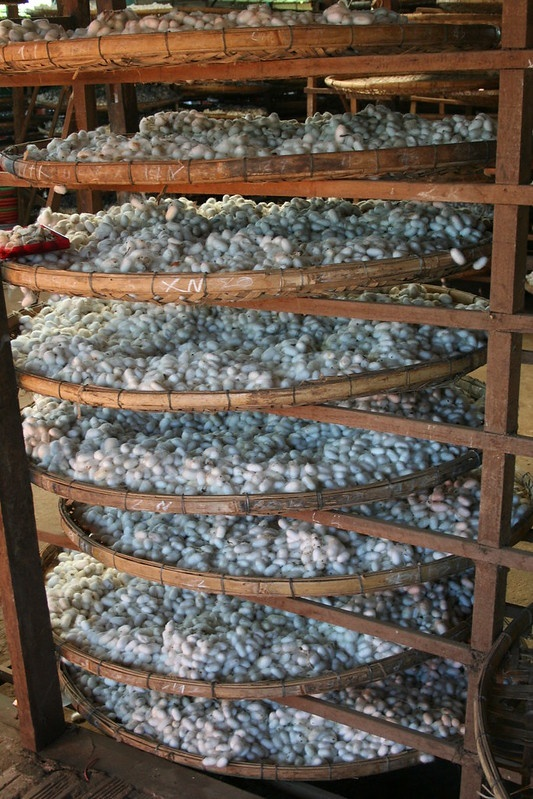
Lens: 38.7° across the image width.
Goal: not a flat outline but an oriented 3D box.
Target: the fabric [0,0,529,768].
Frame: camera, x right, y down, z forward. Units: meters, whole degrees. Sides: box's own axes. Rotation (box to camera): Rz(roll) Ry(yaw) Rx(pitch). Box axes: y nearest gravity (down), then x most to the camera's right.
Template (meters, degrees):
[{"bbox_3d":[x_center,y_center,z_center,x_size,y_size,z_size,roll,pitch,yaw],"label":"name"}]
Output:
[{"bbox_3d":[0.061,-0.316,3.707,2.623,2.421,2.354,-5,23,-12],"label":"fabric"}]
